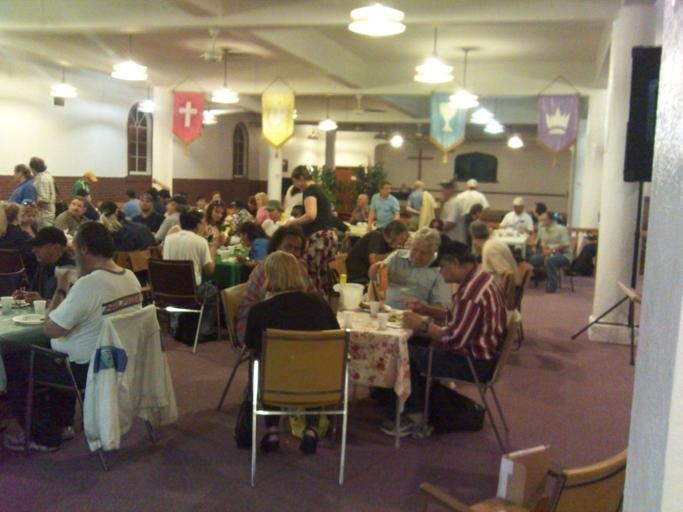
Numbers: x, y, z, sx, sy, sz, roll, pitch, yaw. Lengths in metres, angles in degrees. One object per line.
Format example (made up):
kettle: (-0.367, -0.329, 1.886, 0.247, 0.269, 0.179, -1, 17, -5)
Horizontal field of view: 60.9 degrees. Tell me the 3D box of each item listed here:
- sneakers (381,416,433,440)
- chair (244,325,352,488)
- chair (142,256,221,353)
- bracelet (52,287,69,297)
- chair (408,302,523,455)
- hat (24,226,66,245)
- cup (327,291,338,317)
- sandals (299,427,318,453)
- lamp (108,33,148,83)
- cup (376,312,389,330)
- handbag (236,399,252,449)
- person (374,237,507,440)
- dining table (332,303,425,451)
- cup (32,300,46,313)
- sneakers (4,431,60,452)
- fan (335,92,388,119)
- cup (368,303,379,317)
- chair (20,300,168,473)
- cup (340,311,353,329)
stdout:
sneakers: (0.497, 1.303, 4.367, 0.392, 0.188, 0.150, 6, -3, 2)
chair: (-0.276, 0.903, 3.822, 0.663, 1.004, 0.593, 2, 9, -2)
chair: (-1.721, 0.467, 6.298, 0.586, 0.968, 0.654, 1, 10, 1)
bracelet: (-1.932, 0.253, 3.996, 0.086, 0.059, 0.094, -3, -5, 12)
chair: (0.958, 0.941, 4.410, 0.710, 0.921, 0.622, 7, 4, 33)
hat: (-2.181, -0.133, 4.286, 0.203, 0.117, 0.143, 5, -1, -12)
cup: (-0.061, 0.353, 4.475, 0.132, 0.206, 0.137, 0, 1, 0)
sandals: (-0.218, 1.304, 4.080, 0.128, 0.139, 0.125, 2, -7, 13)
lamp: (-3.042, -2.826, 8.214, 0.352, 0.664, 0.354, 13, 18, -36)
cup: (0.294, 0.470, 4.100, 0.092, 0.094, 0.094, 0, 2, 0)
handbag: (-0.679, 1.174, 4.062, 0.083, 0.292, 0.201, 5, -8, -12)
person: (0.791, 0.638, 4.415, 0.877, 1.508, 0.691, 2, 10, 10)
dining table: (0.185, 0.987, 4.317, 0.892, 0.607, 0.911, -1, -32, 6)
cup: (-2.191, 0.365, 4.211, 0.088, 0.100, 0.089, 2, 3, 0)
sneakers: (-2.140, 1.275, 3.932, 0.241, 0.061, 0.160, 4, -10, 6)
fan: (0.373, -4.376, 16.776, 1.275, 0.568, 1.316, 2, 6, 15)
cup: (0.253, 0.414, 4.424, 0.090, 0.098, 0.096, 1, 4, 0)
chair: (-1.617, 0.819, 3.914, 0.811, 1.015, 0.672, 6, 5, 20)
cup: (0.020, 0.457, 4.186, 0.095, 0.138, 0.123, 1, 3, 14)
